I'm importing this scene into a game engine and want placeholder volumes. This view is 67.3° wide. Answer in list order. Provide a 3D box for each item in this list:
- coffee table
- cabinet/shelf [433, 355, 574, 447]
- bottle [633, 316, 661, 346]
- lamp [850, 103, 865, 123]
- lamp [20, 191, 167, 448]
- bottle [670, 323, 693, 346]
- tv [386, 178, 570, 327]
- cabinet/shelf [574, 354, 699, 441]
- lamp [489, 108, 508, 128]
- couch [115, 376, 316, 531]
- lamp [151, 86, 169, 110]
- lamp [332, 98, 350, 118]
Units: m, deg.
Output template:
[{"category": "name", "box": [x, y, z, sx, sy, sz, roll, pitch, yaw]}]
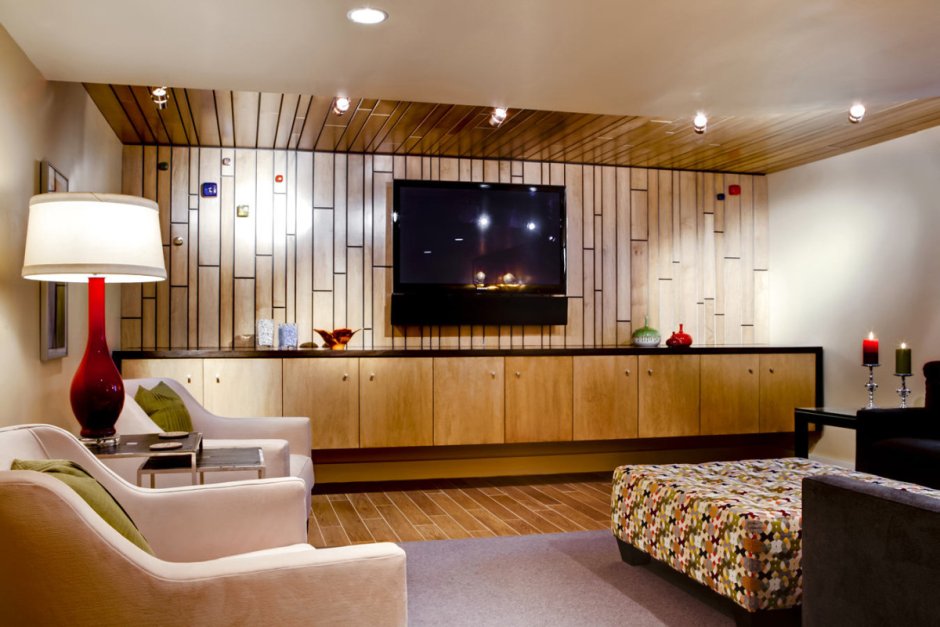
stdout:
[{"category": "coffee table", "box": [1.558, 0.844, 3.644, 1.026, 0.432, 1.126, 0, 0, -23]}, {"category": "cabinet/shelf", "box": [0.089, 0.706, 5.746, 0.986, 0.754, 0.580, 1, -5, -13]}, {"category": "bottle", "box": [1.611, 0.164, 6.403, 0.237, 0.263, 0.241, 1, -2, -42]}, {"category": "lamp", "box": [2.683, -1.380, 4.911, 0.114, 0.122, 0.128, 5, 2, 21]}, {"category": "lamp", "box": [-1.825, 0.024, 3.430, 0.587, 1.201, 0.425, -2, 3, -34]}, {"category": "bottle", "box": [1.910, 0.208, 6.389, 0.213, 0.212, 0.206, -2, 3, -18]}, {"category": "tv", "box": [-0.002, -0.506, 6.138, 1.221, 1.078, 0.445, 1, 1, -12]}, {"category": "cabinet/shelf", "box": [1.434, 0.737, 6.212, 1.074, 0.708, 0.382, 0, 0, -6]}, {"category": "lamp", "box": [0.201, -1.411, 5.066, 0.096, 0.099, 0.175, 10, -23, -11]}, {"category": "couch", "box": [-1.387, 0.719, 4.207, 1.169, 1.167, 0.888, 0, 1, -10]}, {"category": "lamp", "box": [-2.080, -1.439, 4.719, 0.101, 0.151, 0.144, 1, 4, -10]}, {"category": "lamp", "box": [-0.895, -1.420, 4.888, 0.096, 0.128, 0.133, 14, 18, 32]}]
